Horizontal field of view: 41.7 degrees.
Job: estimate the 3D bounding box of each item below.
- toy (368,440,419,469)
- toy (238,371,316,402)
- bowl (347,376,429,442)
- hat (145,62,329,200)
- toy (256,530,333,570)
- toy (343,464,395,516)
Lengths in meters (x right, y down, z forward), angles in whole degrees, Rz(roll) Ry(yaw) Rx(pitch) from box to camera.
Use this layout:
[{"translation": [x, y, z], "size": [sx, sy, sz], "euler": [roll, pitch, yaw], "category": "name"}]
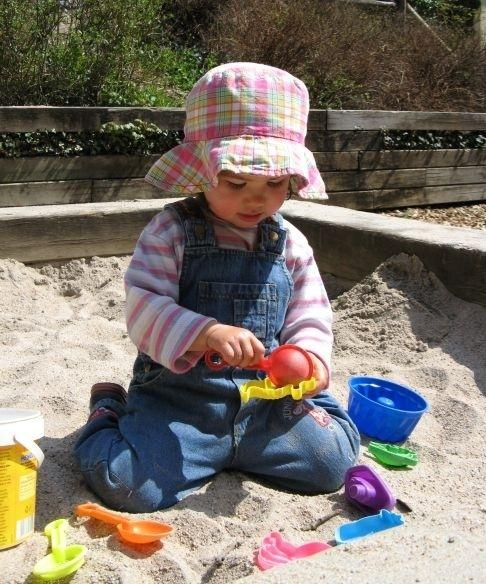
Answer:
[{"translation": [0.448, 0.484, 1.917], "size": [0.104, 0.031, 0.075], "euler": [6, 9, 34], "category": "toy"}, {"translation": [0.083, 0.233, 1.540], "size": [0.146, 0.023, 0.081], "euler": [-3, 12, 3], "category": "toy"}, {"translation": [0.437, 0.409, 2.140], "size": [0.239, 0.104, 0.230], "euler": [19, 12, -4], "category": "bowl"}, {"translation": [0.016, -0.484, 1.850], "size": [0.542, 0.331, 0.596], "euler": [3, 18, 21], "category": "hat"}, {"translation": [0.090, 0.561, 1.396], "size": [0.128, 0.040, 0.086], "euler": [-4, -2, 41], "category": "toy"}, {"translation": [0.320, 0.515, 1.671], "size": [0.053, 0.092, 0.134], "euler": [-12, 30, -39], "category": "toy"}]
